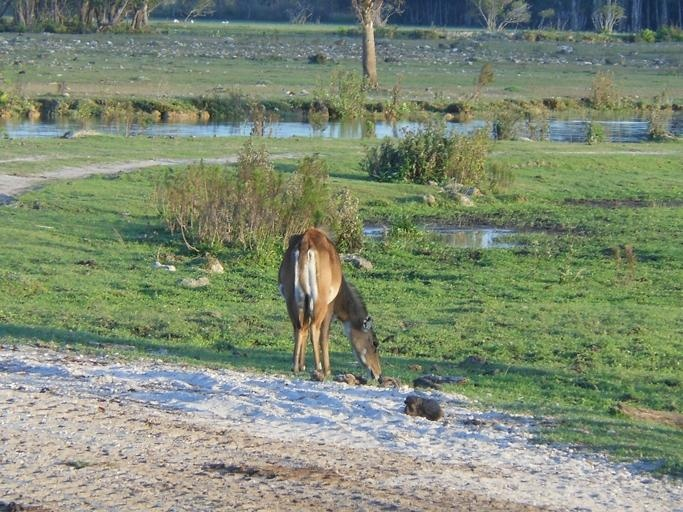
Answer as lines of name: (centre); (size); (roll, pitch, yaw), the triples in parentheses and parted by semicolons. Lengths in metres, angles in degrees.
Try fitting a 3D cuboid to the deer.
deer: (-0.414, 1.450, 57.127); (3.400, 5.935, 4.299); (0, 15, -13)
